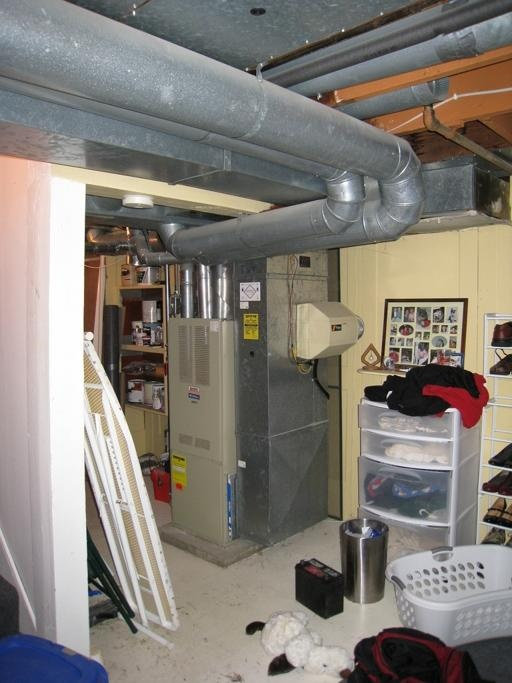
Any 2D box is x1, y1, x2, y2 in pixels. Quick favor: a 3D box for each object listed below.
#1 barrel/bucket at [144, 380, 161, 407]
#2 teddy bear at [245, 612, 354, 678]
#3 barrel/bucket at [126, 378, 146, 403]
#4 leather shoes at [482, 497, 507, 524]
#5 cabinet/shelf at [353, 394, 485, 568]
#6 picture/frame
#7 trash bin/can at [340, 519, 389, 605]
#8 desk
[{"bbox_3d":[-0.972,0.502,5.200,0.161,0.237,0.259,-1,3,-43],"label":"barrel/bucket"},{"bbox_3d":[0.207,1.477,2.652,0.363,0.161,0.421,-4,5,-35],"label":"teddy bear"},{"bbox_3d":[-1.172,0.497,5.482,0.195,0.202,0.202,1,7,0],"label":"barrel/bucket"},{"bbox_3d":[1.368,0.967,3.160,0.080,0.056,0.217,-8,20,36],"label":"leather shoes"},{"bbox_3d":[1.016,0.934,3.489,0.644,1.099,0.718,-3,3,-38],"label":"cabinet/shelf"},{"bbox_3d":[1.130,-0.046,3.710,0.553,0.487,0.033,1,3,-5],"label":"picture/frame"},{"bbox_3d":[0.646,1.313,3.313,0.289,0.415,0.325,-1,4,11],"label":"trash bin/can"},{"bbox_3d":[-0.650,0.750,2.920,0.523,1.592,0.330,0,4,16],"label":"desk"}]
